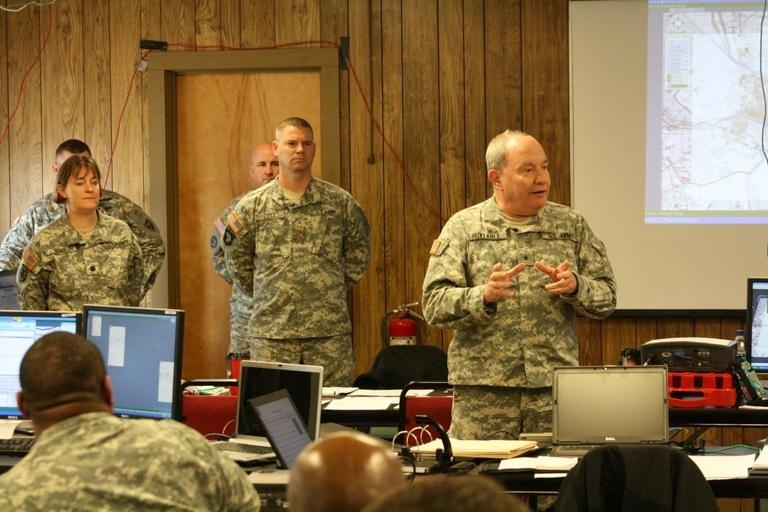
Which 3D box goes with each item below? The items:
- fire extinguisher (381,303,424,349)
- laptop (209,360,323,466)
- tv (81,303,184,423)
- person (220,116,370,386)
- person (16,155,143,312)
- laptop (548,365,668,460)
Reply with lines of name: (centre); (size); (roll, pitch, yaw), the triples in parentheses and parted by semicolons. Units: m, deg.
fire extinguisher: (0.130, 0.451, 6.281); (0.216, 0.286, 0.249); (-4, -3, 43)
laptop: (-0.468, 0.697, 4.025); (0.563, 0.409, 0.345); (4, 2, 42)
tv: (-1.117, 0.480, 4.109); (0.571, 0.513, 0.042); (1, -2, 26)
person: (-0.515, -0.035, 5.417); (0.868, 1.614, 0.376); (-2, -2, -2)
person: (-1.664, -0.066, 5.057); (0.445, 1.008, 0.514); (0, -2, -3)
laptop: (0.968, 0.646, 3.917); (0.482, 0.348, 0.037); (-2, -2, 4)
